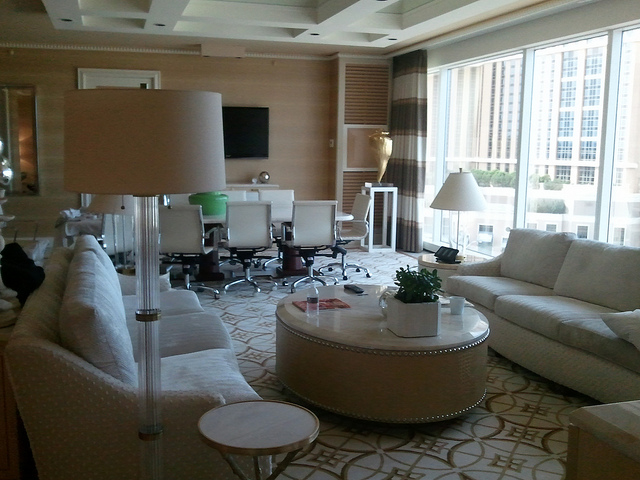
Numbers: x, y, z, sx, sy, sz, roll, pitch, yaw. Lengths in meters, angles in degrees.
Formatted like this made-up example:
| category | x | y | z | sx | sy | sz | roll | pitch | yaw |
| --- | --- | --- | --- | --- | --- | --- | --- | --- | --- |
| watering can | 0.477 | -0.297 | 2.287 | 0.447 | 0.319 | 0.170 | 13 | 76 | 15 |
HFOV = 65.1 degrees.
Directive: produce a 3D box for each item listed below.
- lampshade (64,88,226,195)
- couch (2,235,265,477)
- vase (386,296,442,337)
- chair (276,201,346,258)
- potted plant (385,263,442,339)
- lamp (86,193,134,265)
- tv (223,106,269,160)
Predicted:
| category | x | y | z | sx | sy | sz | roll | pitch | yaw |
| --- | --- | --- | --- | --- | --- | --- | --- | --- | --- |
| lampshade | -0.703 | -0.382 | 1.977 | 0.665 | 0.278 | 0.544 | -4 | 13 | -22 |
| couch | -0.967 | 0.603 | 2.648 | 0.819 | 0.464 | 1.472 | -4 | 15 | -20 |
| vase | 0.593 | 0.480 | 3.185 | 0.361 | 0.171 | 0.285 | 1 | 4 | -2 |
| chair | -0.139 | -0.140 | 6.450 | 1.132 | 0.840 | 0.814 | -1 | 17 | -7 |
| potted plant | 0.543 | 0.418 | 3.305 | 0.383 | 0.378 | 0.353 | 5 | 7 | -43 |
| lamp | -1.541 | -0.136 | 3.740 | 0.362 | 0.461 | 0.332 | 10 | 12 | 26 |
| tv | -1.386 | -1.895 | 8.871 | 0.137 | 0.935 | 1.276 | 17 | 21 | 29 |
